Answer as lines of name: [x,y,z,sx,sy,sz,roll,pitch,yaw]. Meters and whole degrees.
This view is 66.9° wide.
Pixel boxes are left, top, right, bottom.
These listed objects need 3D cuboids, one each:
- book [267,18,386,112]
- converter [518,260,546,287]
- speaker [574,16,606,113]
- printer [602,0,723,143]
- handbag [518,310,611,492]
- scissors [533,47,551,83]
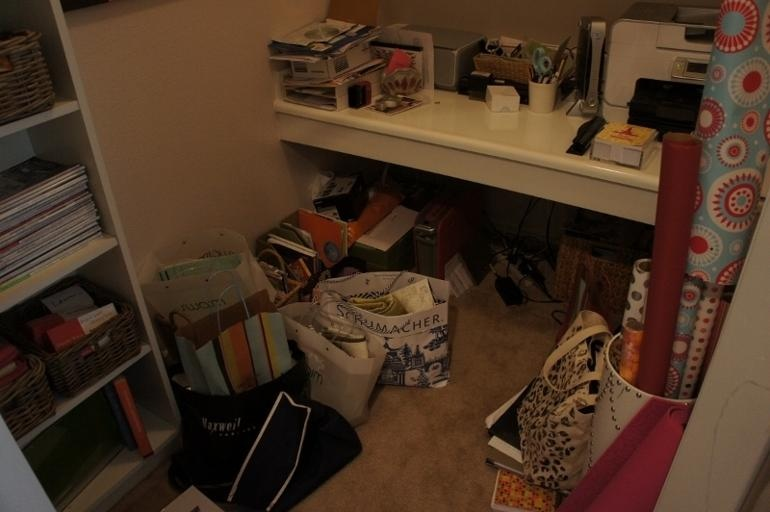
book: [-0.248,-0.969,2.624,0.424,0.281,0.443,27,45,31]
converter: [0.764,0.088,3.029,0.165,0.044,0.089,41,83,5]
speaker: [0.840,-0.788,2.395,0.127,0.365,0.126,9,33,16]
printer: [1.030,-0.697,2.249,0.364,0.376,0.221,14,34,21]
handbag: [0.647,0.542,2.087,0.224,0.424,0.455,18,44,10]
scissors: [0.659,-0.802,2.439,0.089,0.128,0.071,8,33,13]
